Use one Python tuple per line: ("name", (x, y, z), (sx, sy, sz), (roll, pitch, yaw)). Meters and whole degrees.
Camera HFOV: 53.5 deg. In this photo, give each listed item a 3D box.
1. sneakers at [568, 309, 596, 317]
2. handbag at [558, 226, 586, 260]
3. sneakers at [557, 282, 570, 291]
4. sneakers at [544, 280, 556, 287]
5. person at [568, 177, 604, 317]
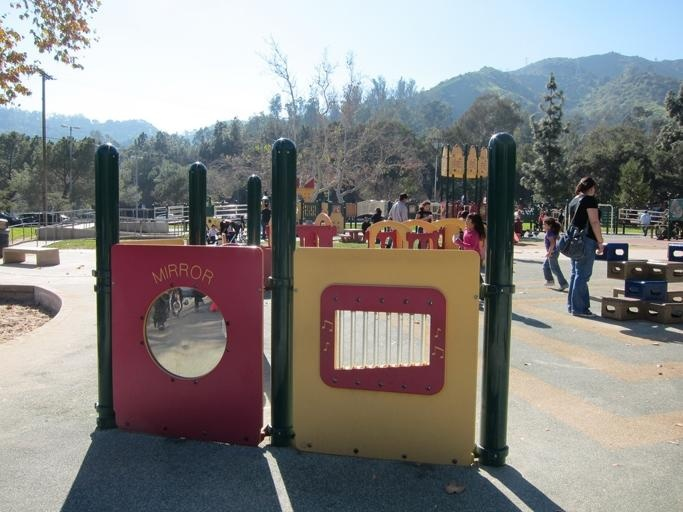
("sneakers", (3.616, 0.830, 10.236), (0.336, 0.175, 0.131), (1, 2, 13))
("handbag", (3.309, -0.179, 9.828), (0.365, 0.478, 0.318), (7, 12, 29))
("sneakers", (4.234, 0.578, 13.050), (0.218, 0.192, 0.081), (5, 9, 40))
("sneakers", (4.173, 0.553, 13.660), (0.078, 0.120, 0.248), (-1, -4, 6))
("person", (3.587, -0.112, 10.085), (0.481, 2.168, 1.266), (4, 11, 19))
